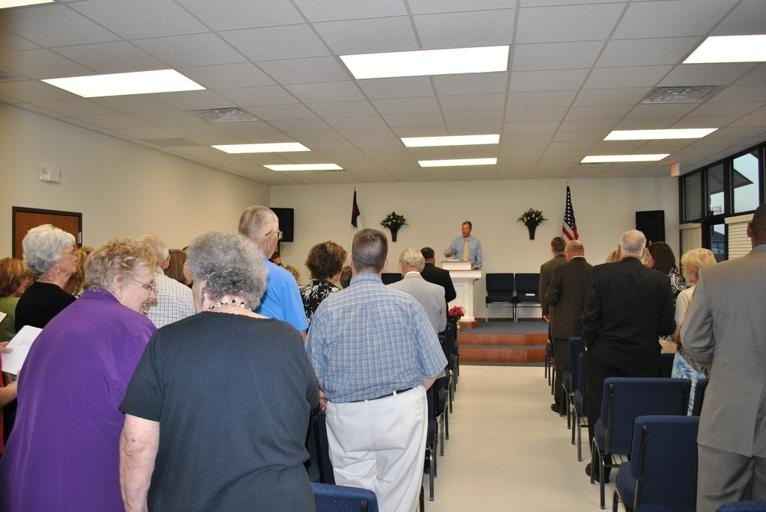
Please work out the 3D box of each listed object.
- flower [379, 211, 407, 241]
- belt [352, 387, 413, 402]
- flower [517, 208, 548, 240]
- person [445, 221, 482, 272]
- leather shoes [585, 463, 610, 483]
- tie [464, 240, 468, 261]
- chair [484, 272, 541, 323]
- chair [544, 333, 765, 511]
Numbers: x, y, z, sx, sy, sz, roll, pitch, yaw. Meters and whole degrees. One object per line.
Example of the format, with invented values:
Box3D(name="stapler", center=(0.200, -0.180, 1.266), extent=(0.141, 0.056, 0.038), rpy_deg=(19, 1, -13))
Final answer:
Box3D(name="flower", center=(0.290, -0.670, 14.158), extent=(0.642, 0.701, 0.640), rpy_deg=(-2, -7, 29))
Box3D(name="belt", center=(-0.005, 0.958, 3.999), extent=(0.406, 0.083, 0.041), rpy_deg=(-2, 6, -7))
Box3D(name="flower", center=(3.465, -0.741, 13.563), extent=(0.612, 0.738, 0.340), rpy_deg=(0, 6, 13))
Box3D(name="person", center=(1.791, 0.089, 12.780), extent=(0.736, 1.536, 0.765), rpy_deg=(-1, 13, 9))
Box3D(name="leather shoes", center=(2.036, 2.059, 5.508), extent=(0.206, 0.165, 0.288), rpy_deg=(1, -10, -2))
Box3D(name="tie", center=(1.791, -0.133, 12.578), extent=(0.116, 0.412, 0.226), rpy_deg=(-1, 6, 5))
Box3D(name="chair", center=(2.878, 0.956, 12.998), extent=(1.200, 1.081, 1.029), rpy_deg=(0, 6, 13))
Box3D(name="chair", center=(2.395, 1.421, 5.326), extent=(1.076, 1.601, 1.136), rpy_deg=(0, 6, 11))
